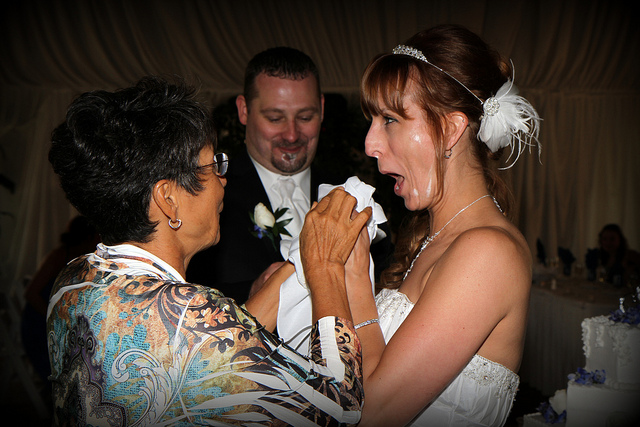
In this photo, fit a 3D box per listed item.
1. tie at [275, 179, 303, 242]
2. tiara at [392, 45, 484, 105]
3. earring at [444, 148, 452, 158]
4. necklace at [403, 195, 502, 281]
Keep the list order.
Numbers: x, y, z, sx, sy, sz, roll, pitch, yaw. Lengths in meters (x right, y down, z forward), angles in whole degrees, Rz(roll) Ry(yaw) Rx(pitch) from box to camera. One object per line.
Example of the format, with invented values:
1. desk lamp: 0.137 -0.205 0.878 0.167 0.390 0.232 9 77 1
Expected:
1. tie: -0.264 -0.124 5.790 0.111 0.110 0.427 15 43 24
2. tiara: 0.820 -1.007 4.299 0.616 0.357 0.118 2 1 9
3. earring: 0.905 -0.432 4.318 0.058 0.065 0.019 -1 -3 1
4. necklace: 0.982 0.181 4.503 0.672 0.561 0.252 2 1 22
